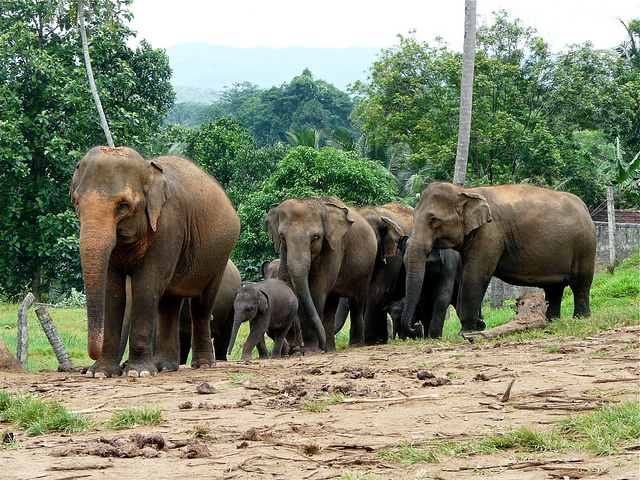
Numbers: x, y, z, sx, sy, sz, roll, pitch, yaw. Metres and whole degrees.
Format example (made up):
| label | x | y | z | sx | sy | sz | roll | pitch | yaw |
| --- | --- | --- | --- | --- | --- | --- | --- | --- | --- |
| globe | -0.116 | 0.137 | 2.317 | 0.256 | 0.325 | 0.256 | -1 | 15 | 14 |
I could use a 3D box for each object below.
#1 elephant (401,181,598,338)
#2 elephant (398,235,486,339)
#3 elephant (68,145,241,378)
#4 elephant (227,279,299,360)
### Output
| label | x | y | z | sx | sy | sz | roll | pitch | yaw |
| --- | --- | --- | --- | --- | --- | --- | --- | --- | --- |
| elephant | 2.918 | 0.281 | 12.594 | 3.477 | 2.326 | 1.318 | -2 | 2 | -21 |
| elephant | 1.988 | 0.716 | 13.659 | 0.859 | 1.889 | 3.217 | -3 | -1 | 26 |
| elephant | -2.193 | 0.334 | 10.227 | 1.602 | 2.782 | 3.431 | 0 | -2 | 14 |
| elephant | -0.859 | 1.267 | 12.266 | 0.546 | 1.231 | 1.404 | -3 | -6 | 41 |
